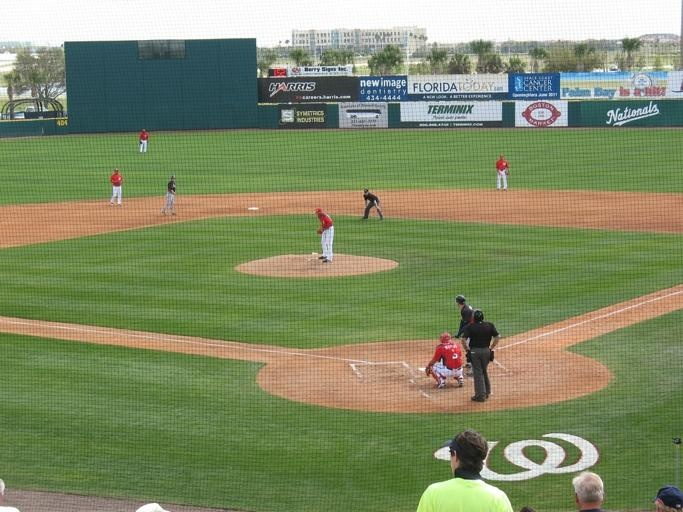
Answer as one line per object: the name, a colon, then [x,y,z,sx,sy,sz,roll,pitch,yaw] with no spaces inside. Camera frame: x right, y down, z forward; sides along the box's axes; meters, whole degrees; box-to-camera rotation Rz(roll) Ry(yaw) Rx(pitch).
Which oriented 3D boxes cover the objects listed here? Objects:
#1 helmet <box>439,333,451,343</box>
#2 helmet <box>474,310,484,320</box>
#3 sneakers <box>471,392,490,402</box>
helmet: [2.628,2.046,29.224,0.259,0.243,0.208,14,10,28]
helmet: [3.398,1.425,28.706,0.225,0.257,0.260,-1,15,-1]
sneakers: [3.485,3.481,28.812,0.487,0.178,0.220,-3,15,-7]
